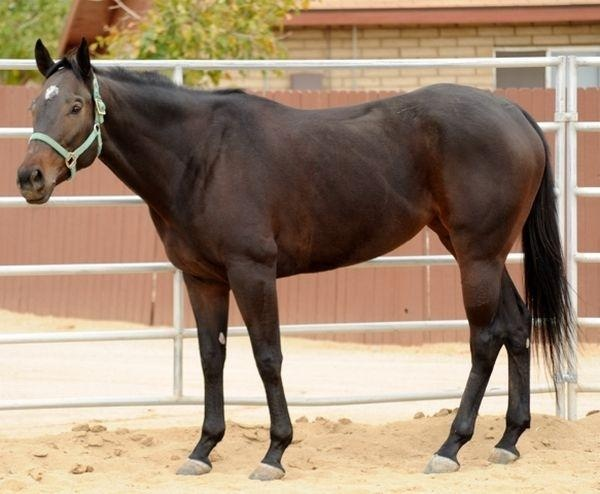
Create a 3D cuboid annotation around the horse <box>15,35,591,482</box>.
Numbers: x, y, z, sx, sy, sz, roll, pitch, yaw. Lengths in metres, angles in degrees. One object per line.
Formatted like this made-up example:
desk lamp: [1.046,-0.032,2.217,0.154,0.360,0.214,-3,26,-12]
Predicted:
horse: [-0.080,0.207,9.309,5.662,3.274,1.320,-1,-8,-33]
